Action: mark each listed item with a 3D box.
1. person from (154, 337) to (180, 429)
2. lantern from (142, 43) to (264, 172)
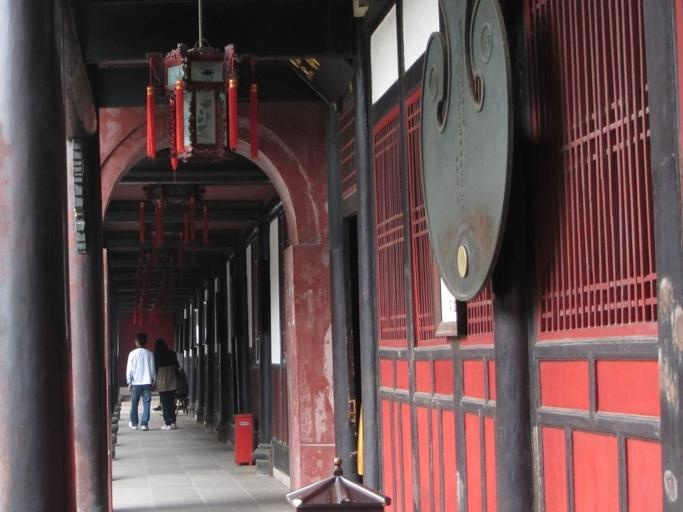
[{"bbox_3d":[-3.612,2.594,17.238,0.515,1.910,1.225,1,-11,-12],"label":"person"},{"bbox_3d":[-0.779,-0.987,5.159,0.644,0.948,0.743,0,-3,25],"label":"lantern"}]
